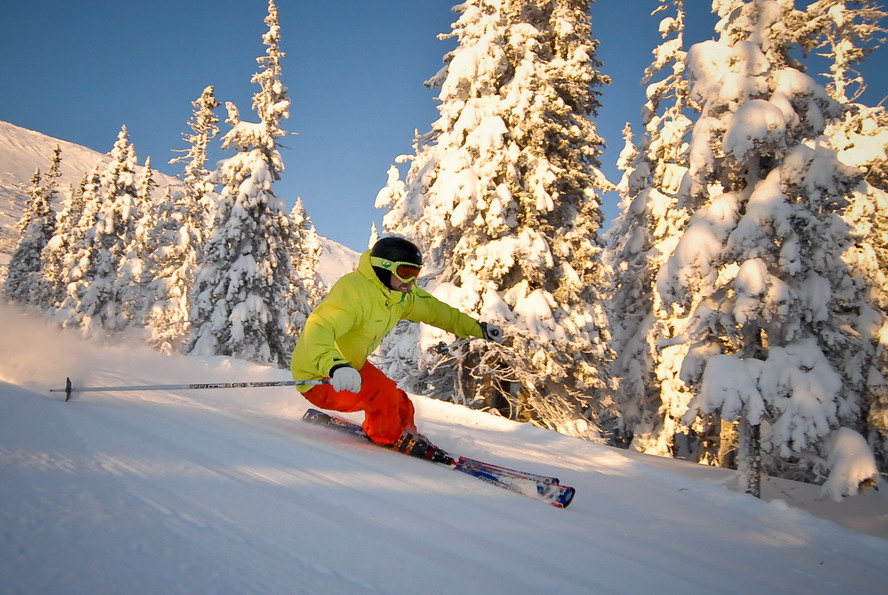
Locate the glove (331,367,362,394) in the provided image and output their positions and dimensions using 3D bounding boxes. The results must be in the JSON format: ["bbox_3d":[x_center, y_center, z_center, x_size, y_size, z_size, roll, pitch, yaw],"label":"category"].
[{"bbox_3d":[-1.518,1.266,11.247,0.479,0.404,0.270,12,-15,-9],"label":"glove"}]
